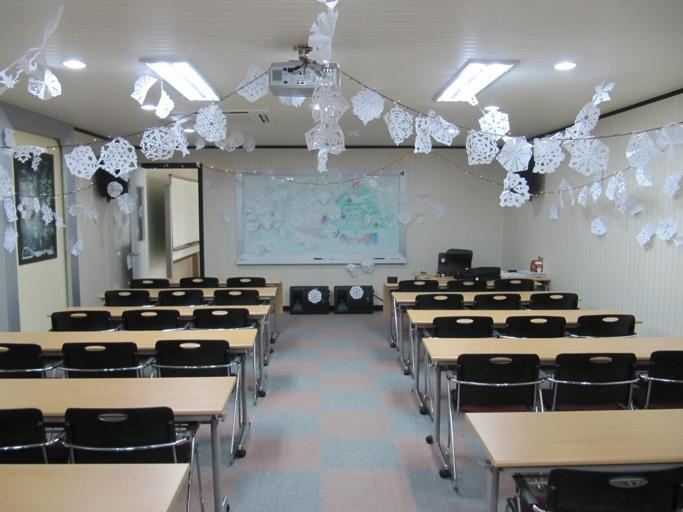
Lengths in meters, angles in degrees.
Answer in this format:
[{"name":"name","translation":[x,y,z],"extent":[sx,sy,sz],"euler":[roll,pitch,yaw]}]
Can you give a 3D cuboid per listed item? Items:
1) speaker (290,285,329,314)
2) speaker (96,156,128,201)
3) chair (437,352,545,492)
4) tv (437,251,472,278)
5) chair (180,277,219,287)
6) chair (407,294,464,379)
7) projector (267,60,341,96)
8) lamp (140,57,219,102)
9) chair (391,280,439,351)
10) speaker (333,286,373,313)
[{"name":"speaker","translation":[-0.542,0.748,8.917],"extent":[0.710,0.482,0.431],"euler":[0,5,7]},{"name":"speaker","translation":[-3.767,-1.141,8.341],"extent":[0.354,0.538,0.555],"euler":[1,12,-1]},{"name":"chair","translation":[1.129,1.239,4.082],"extent":[0.999,1.188,0.901],"euler":[0,6,3]},{"name":"tv","translation":[1.831,0.076,8.244],"extent":[0.608,0.431,0.361],"euler":[0,14,0]},{"name":"chair","translation":[-1.993,0.367,7.105],"extent":[0.517,0.135,0.142],"euler":[2,12,2]},{"name":"chair","translation":[1.094,0.841,5.907],"extent":[0.769,1.209,0.852],"euler":[0,6,0]},{"name":"projector","translation":[-0.318,-1.487,4.265],"extent":[0.569,0.274,0.294],"euler":[7,13,24]},{"name":"lamp","translation":[-1.569,-1.739,5.109],"extent":[0.463,0.220,1.087],"euler":[1,12,0]},{"name":"chair","translation":[0.934,0.746,6.812],"extent":[0.731,1.220,0.851],"euler":[1,8,2]},{"name":"speaker","translation":[0.220,0.589,8.835],"extent":[0.720,0.483,0.433],"euler":[0,5,3]}]
